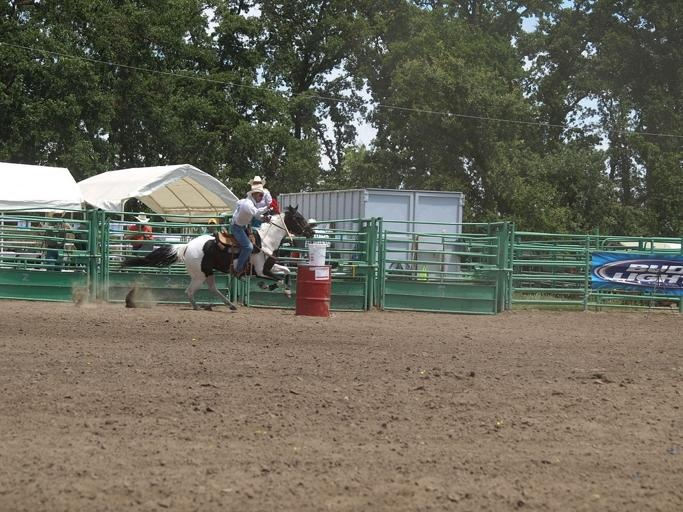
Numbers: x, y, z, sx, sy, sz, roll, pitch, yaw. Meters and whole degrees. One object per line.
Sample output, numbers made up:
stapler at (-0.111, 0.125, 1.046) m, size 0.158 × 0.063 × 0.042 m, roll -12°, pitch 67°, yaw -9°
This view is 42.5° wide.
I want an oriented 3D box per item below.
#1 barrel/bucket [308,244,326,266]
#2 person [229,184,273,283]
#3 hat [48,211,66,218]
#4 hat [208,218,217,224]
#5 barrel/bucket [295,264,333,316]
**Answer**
barrel/bucket at (-0.476, -0.047, 18.965) m, size 0.486 × 0.433 × 0.437 m, roll 0°, pitch 1°, yaw 1°
person at (-1.959, -0.630, 18.906) m, size 0.893 × 2.102 × 1.001 m, roll 1°, pitch 0°, yaw -7°
hat at (-7.560, -1.116, 23.196) m, size 0.357 × 0.127 × 0.420 m, roll -1°, pitch -2°, yaw -1°
hat at (-3.714, -1.002, 25.247) m, size 0.391 × 0.151 × 0.531 m, roll 0°, pitch 2°, yaw -7°
barrel/bucket at (-0.621, 0.718, 18.865) m, size 0.720 × 1.122 × 0.315 m, roll 1°, pitch 0°, yaw -6°
